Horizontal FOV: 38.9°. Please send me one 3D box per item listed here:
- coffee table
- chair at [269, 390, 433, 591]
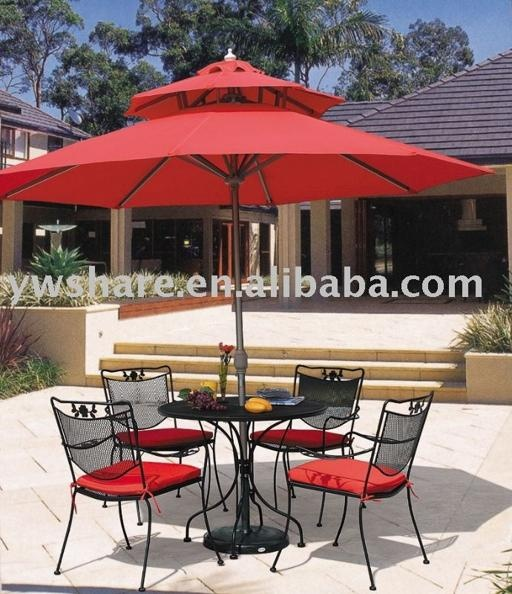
[{"bbox_3d":[-0.076,1.036,4.098,0.886,0.726,0.842,-1,-7,8],"label":"coffee table"},{"bbox_3d":[0.532,1.018,4.209,0.925,1.200,0.840,1,-2,25],"label":"chair"}]
